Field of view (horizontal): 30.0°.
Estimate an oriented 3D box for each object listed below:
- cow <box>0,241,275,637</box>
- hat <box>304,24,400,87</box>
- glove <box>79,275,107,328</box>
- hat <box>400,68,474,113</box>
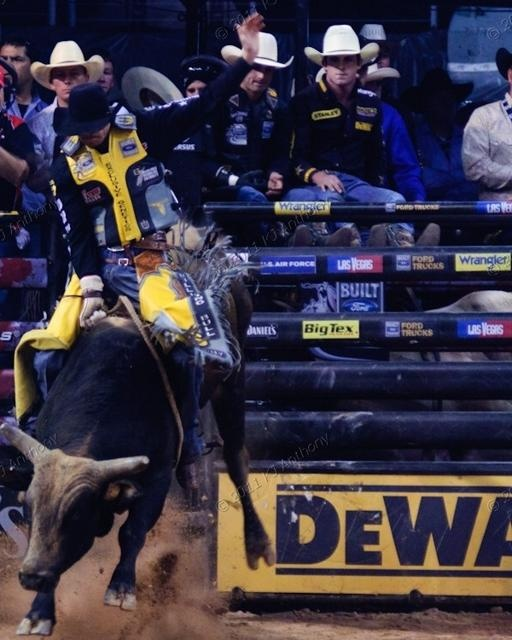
[{"bbox_3d":[-0.618,0.776,5.089,0.836,2.094,1.929,6,20,20],"label":"cow"},{"bbox_3d":[0.729,-1.977,7.094,0.450,0.219,0.574,-3,-15,1],"label":"hat"},{"bbox_3d":[-0.887,-0.100,5.149,0.230,0.238,0.084,-16,-24,38],"label":"glove"},{"bbox_3d":[1.381,-1.746,7.310,0.382,0.139,0.417,-8,-8,-30],"label":"hat"}]
